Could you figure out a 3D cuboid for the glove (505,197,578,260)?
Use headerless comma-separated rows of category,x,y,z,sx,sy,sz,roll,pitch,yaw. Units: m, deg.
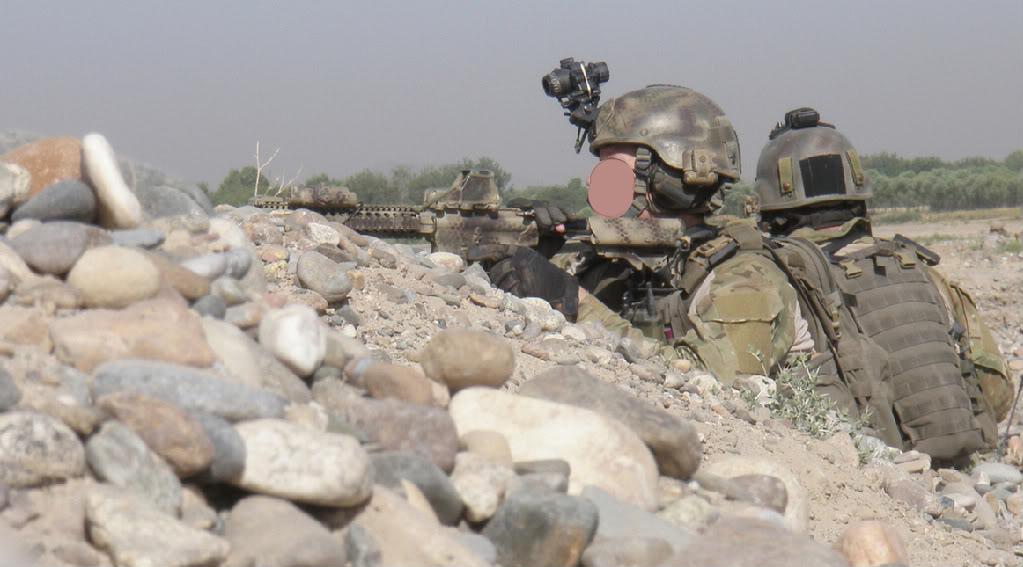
glove,0.291,-0.521,13.635,0.684,0.235,0.389,18,-1,-41

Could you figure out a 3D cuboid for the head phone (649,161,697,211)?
head phone,1.471,-0.893,13.420,0.330,0.477,0.216,35,-47,-17

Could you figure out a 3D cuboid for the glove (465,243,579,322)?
glove,0.182,-0.004,12.883,0.823,0.619,0.420,2,2,11
